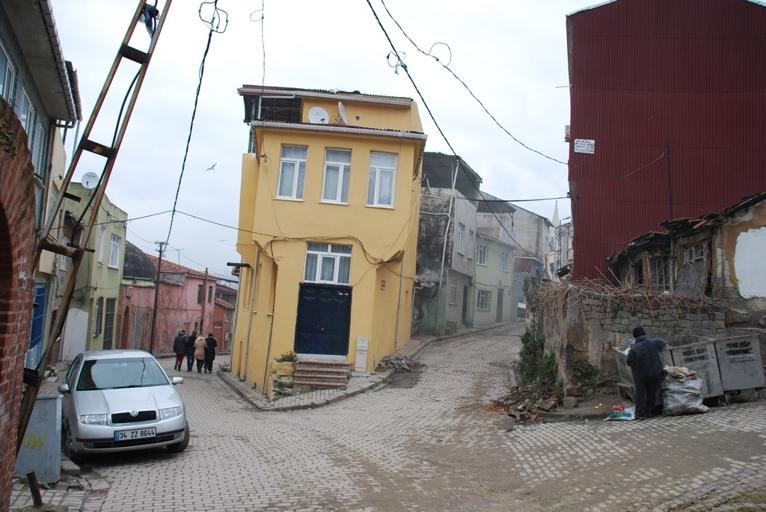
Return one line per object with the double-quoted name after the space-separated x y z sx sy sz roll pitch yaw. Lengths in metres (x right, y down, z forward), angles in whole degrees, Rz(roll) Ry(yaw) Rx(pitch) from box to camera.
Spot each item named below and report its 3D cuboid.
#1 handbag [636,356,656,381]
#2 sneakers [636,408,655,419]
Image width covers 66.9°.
5.858 2.516 12.845 0.441 0.630 0.323 5 4 22 "handbag"
5.839 3.515 12.878 0.425 0.305 0.270 -5 -11 25 "sneakers"
